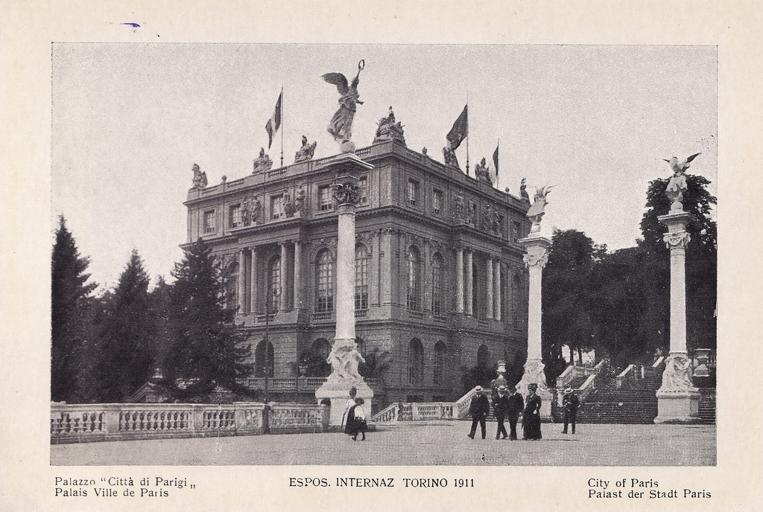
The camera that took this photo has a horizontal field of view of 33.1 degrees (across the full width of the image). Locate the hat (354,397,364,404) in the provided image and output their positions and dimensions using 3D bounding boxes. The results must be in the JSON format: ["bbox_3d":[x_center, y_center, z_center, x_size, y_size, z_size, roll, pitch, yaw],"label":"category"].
[{"bbox_3d":[-1.040,6.341,56.475,0.342,0.182,0.447,0,-8,1],"label":"hat"}]
